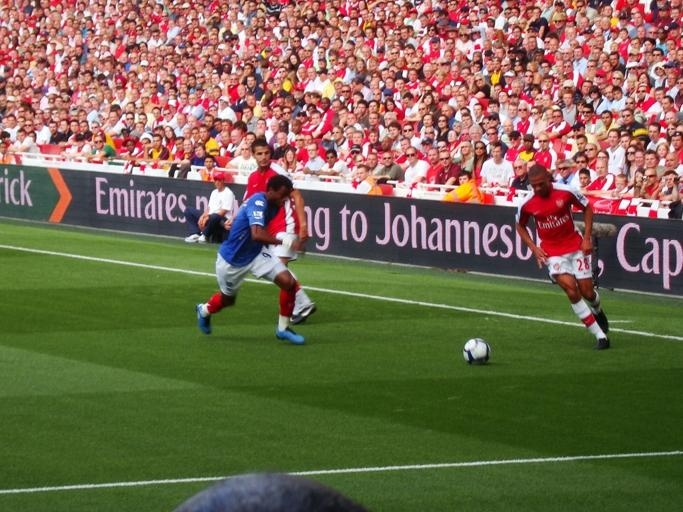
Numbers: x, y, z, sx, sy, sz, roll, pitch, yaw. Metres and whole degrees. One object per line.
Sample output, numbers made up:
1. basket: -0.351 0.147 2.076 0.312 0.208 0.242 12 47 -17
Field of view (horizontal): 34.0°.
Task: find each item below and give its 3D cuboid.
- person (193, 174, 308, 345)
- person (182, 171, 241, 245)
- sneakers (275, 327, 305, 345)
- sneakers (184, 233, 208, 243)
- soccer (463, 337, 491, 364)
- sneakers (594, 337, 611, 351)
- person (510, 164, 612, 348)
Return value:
1. person: -1.120 0.064 13.717 1.285 2.084 0.863 1 9 4
2. person: -2.690 -0.984 22.942 1.057 1.401 1.042 -2 7 -11
3. sneakers: -0.665 0.971 14.021 0.398 0.171 0.159 13 25 12
4. sneakers: -3.010 -0.370 23.110 0.435 0.174 0.202 1 -1 14
5. soccer: 1.580 1.103 13.088 0.285 0.287 0.281 8 -5 -5
6. sneakers: 3.287 1.062 14.003 0.165 0.154 0.285 3 9 13
7. person: 2.846 -0.029 14.215 1.209 2.246 0.839 2 9 12
